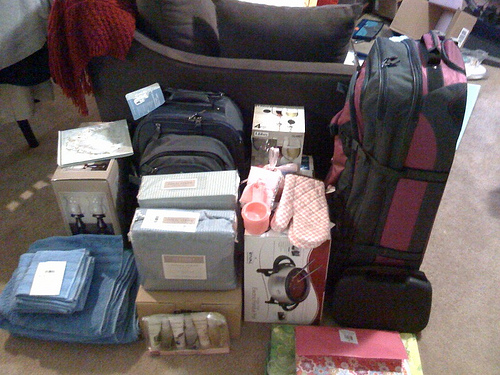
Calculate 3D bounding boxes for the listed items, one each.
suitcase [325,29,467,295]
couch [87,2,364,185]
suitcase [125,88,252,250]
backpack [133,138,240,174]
[{"bbox_3d":[0.603,-0.069,1.826,0.488,1.056,0.667,6,43,6],"label":"suitcase"},{"bbox_3d":[-0.046,-0.800,2.402,1.041,1.058,1.096,5,44,4],"label":"couch"},{"bbox_3d":[-0.317,-0.135,2.063,0.639,0.578,0.510,0,43,-1],"label":"suitcase"},{"bbox_3d":[-0.297,-0.149,1.850,0.330,0.086,0.225,-1,51,-2],"label":"backpack"}]
